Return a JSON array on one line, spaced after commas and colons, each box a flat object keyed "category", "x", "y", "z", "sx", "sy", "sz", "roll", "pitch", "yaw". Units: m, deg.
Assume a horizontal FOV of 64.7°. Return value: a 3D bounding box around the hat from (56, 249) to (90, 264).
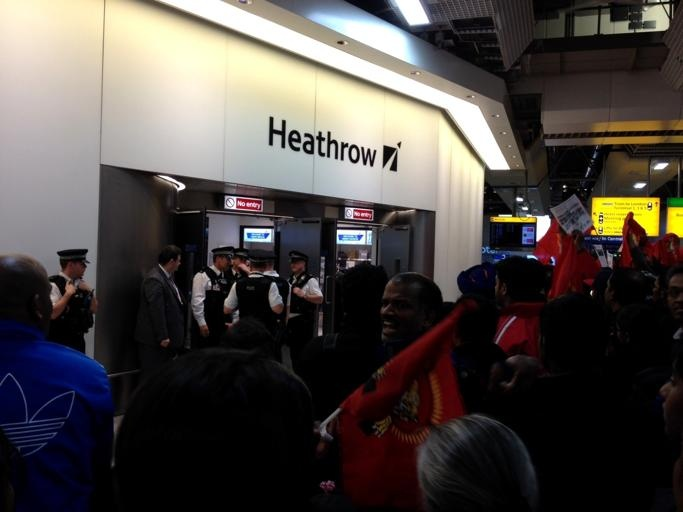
[{"category": "hat", "x": -2.099, "y": -0.013, "z": 4.210, "sx": 0.154, "sy": 0.065, "sz": 0.131, "roll": 3, "pitch": 2, "yaw": -6}]
